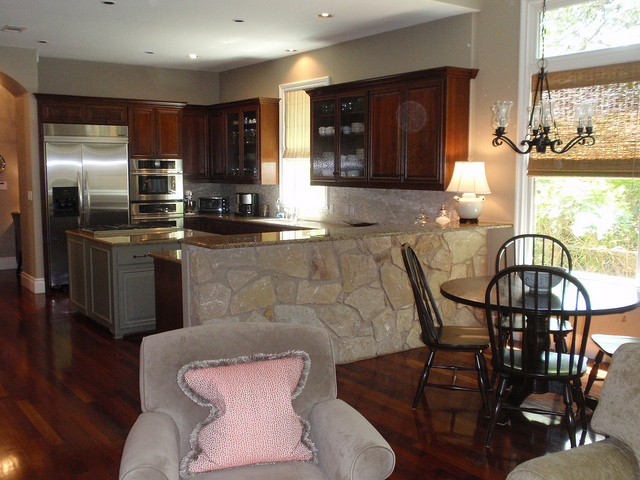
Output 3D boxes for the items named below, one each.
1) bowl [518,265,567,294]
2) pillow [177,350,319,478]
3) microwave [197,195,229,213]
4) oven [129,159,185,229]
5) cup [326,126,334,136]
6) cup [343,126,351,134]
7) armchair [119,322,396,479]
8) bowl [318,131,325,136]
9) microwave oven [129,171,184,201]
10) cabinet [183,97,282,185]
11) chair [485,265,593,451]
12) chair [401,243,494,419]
[{"bbox_3d":[1.429,0.238,3.063,0.287,0.118,0.294,0,0,0],"label":"bowl"},{"bbox_3d":[-0.337,0.776,2.093,0.451,0.376,0.145,-2,-8,-12],"label":"pillow"},{"bbox_3d":[-1.878,-0.622,8.372,0.543,0.268,0.359,-1,9,-4],"label":"microwave"},{"bbox_3d":[-2.741,-0.642,7.967,0.824,1.512,0.686,-4,11,-30],"label":"oven"},{"bbox_3d":[0.130,-1.428,6.254,0.106,0.084,0.098,-1,5,0],"label":"cup"},{"bbox_3d":[0.342,-1.395,6.043,0.085,0.062,0.087,0,7,0],"label":"cup"},{"bbox_3d":[-0.311,0.718,2.132,0.949,0.962,0.765,-1,-2,-13],"label":"armchair"},{"bbox_3d":[0.024,-1.422,6.373,0.063,0.045,0.064,0,2,0],"label":"bowl"},{"bbox_3d":[-2.615,-0.889,7.929,0.862,0.545,0.523,-1,-2,-1],"label":"microwave oven"},{"bbox_3d":[-1.597,-1.604,8.077,1.830,1.378,0.952,3,7,22],"label":"cabinet"},{"bbox_3d":[1.483,0.751,3.256,0.645,1.238,0.703,-9,9,-40],"label":"chair"},{"bbox_3d":[0.980,0.664,3.607,0.689,1.106,0.548,3,6,22],"label":"chair"}]
